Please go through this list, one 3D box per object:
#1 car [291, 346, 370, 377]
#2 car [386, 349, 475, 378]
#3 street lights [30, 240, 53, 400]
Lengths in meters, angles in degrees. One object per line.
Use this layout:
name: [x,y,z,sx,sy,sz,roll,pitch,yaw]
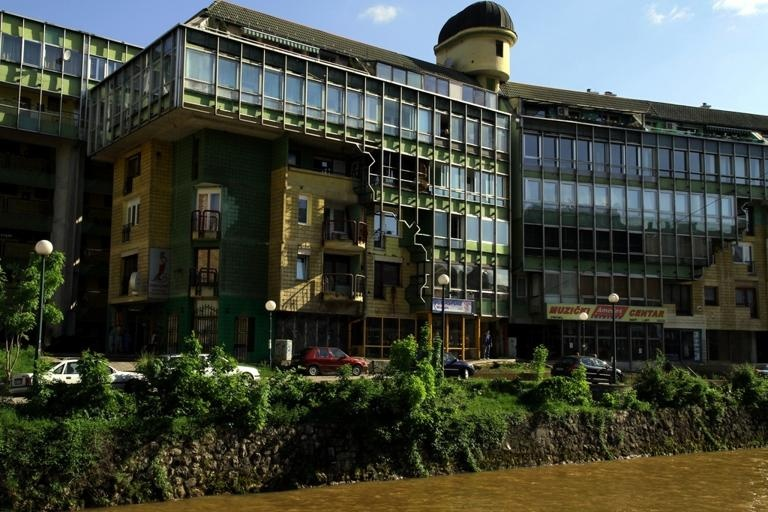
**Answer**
car: [-2.971,6.542,49.059,5.455,2.188,2.255,1,-3,-24]
car: [4.429,6.731,51.531,1.803,0.721,2.608,7,13,0]
street lights: [-15.498,2.226,38.727,0.909,5.772,0.767,-10,-15,36]
